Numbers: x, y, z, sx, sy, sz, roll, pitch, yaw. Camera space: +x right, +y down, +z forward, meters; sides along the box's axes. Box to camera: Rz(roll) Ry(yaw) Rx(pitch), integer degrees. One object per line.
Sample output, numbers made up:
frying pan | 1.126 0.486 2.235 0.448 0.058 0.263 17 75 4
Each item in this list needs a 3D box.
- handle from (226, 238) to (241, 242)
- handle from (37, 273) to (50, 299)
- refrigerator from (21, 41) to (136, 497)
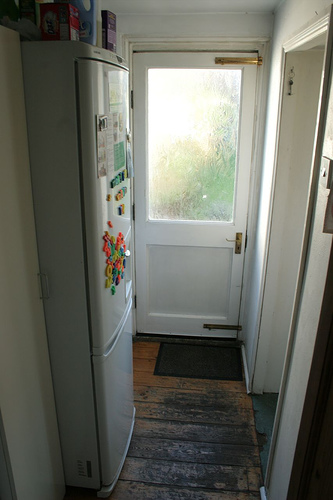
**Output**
handle | 0.509 -0.074 2.652 0.108 0.027 0.016 1 13 1
handle | -0.463 0.138 1.307 0.038 0.105 0.020 0 12 -4
refrigerator | -0.214 0.138 1.525 0.388 1.797 0.559 1 17 2
